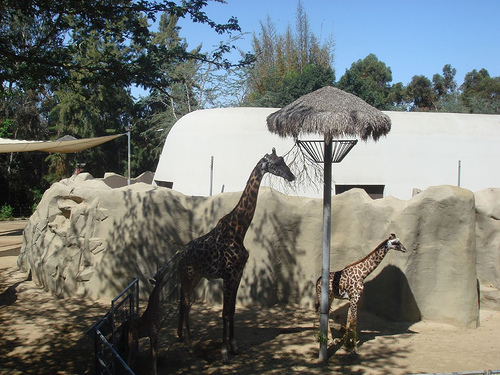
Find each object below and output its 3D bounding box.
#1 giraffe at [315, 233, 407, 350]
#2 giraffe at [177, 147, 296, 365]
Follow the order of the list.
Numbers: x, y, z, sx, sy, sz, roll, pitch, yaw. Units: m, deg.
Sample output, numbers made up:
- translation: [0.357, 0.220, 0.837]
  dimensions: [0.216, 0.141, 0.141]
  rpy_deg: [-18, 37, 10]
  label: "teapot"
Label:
- translation: [2.582, 2.458, 13.572]
  dimensions: [1.962, 2.643, 0.729]
  rpy_deg: [-1, 1, -3]
  label: "giraffe"
- translation: [-0.529, 1.550, 13.516]
  dimensions: [2.559, 4.889, 1.030]
  rpy_deg: [-1, 1, 2]
  label: "giraffe"
